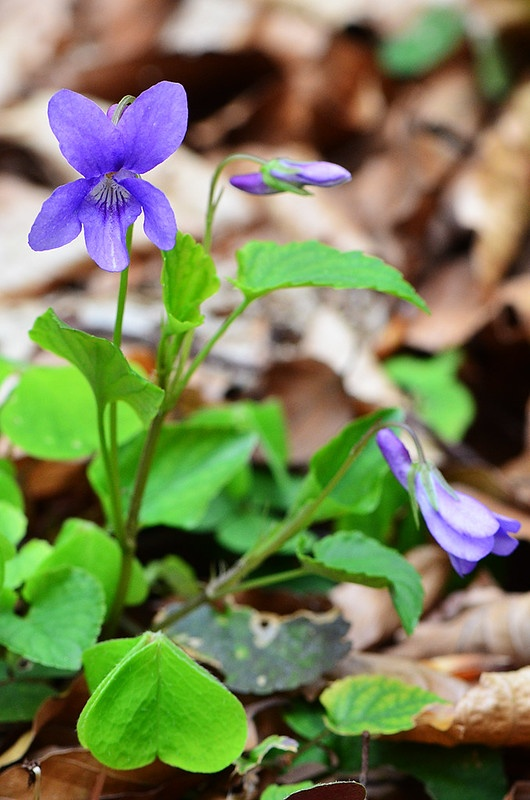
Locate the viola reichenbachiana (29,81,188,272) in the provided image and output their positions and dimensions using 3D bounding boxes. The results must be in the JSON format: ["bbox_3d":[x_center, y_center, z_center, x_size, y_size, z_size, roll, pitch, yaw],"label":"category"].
[{"bbox_3d":[-0.176,-0.249,0.843,0.172,0.181,0.190,-16,-36,-24],"label":"viola reichenbachiana"}]

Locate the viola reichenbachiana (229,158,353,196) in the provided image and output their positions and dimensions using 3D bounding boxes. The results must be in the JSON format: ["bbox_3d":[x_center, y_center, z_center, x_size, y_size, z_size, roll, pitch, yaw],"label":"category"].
[{"bbox_3d":[0.028,-0.273,0.979,0.184,0.051,0.057,5,28,31],"label":"viola reichenbachiana"}]

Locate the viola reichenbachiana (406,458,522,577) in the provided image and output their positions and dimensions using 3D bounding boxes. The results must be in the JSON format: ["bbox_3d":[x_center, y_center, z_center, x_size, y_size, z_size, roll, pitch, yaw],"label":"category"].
[{"bbox_3d":[0.240,0.145,0.913,0.129,0.133,0.136,-8,7,12],"label":"viola reichenbachiana"}]
